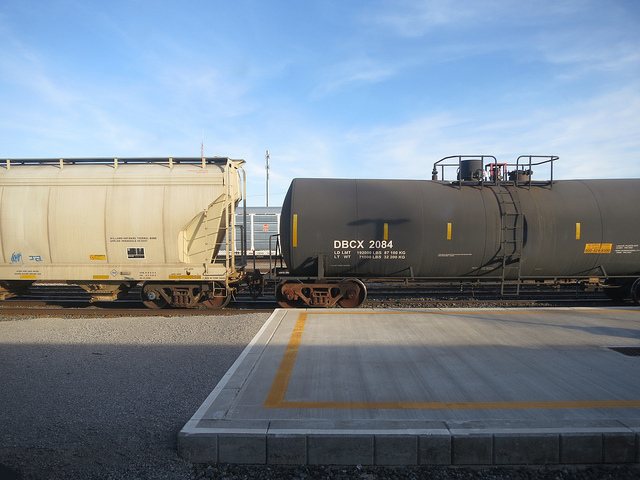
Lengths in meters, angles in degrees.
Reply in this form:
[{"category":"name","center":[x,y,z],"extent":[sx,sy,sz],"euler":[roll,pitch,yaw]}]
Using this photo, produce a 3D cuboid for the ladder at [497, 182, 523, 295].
[{"category":"ladder","center":[5.176,0.013,14.414],"extent":[0.615,2.492,0.786],"euler":[2,15,9]}]
